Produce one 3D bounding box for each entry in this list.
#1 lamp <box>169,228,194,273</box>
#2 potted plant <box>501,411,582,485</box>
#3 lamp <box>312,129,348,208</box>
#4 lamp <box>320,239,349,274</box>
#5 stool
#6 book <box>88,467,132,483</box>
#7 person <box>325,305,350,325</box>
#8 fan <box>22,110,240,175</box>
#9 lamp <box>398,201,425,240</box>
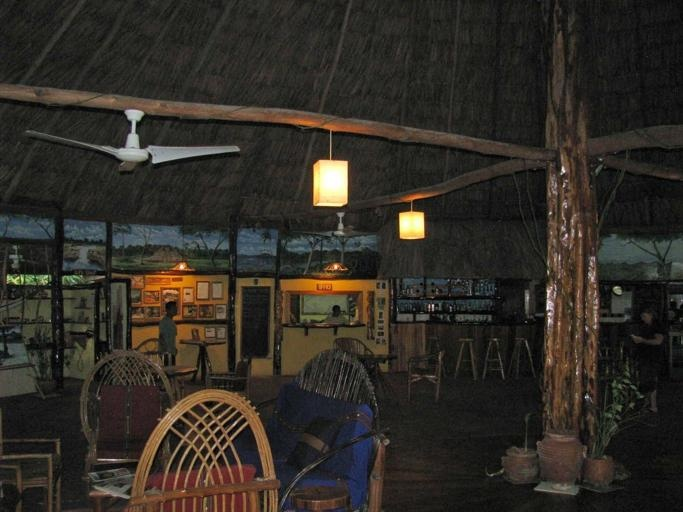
[{"bbox_3d":[-3.337,-0.143,13.655,0.455,0.939,0.237,0,1,-21],"label":"lamp"},{"bbox_3d":[2.284,2.318,7.611,1.048,0.485,0.624,0,-4,40],"label":"potted plant"},{"bbox_3d":[-0.130,-0.916,7.935,0.406,0.560,0.235,0,1,-13],"label":"lamp"},{"bbox_3d":[-0.125,-0.009,14.501,0.596,0.802,0.584,9,10,41],"label":"lamp"},{"bbox_3d":[3.372,2.181,14.050,1.799,0.828,0.653,1,1,6],"label":"stool"},{"bbox_3d":[-2.003,1.914,5.621,0.352,0.058,0.313,0,1,-24],"label":"book"},{"bbox_3d":[-0.112,1.313,14.303,0.418,0.769,0.314,4,12,7],"label":"person"},{"bbox_3d":[-2.493,-1.164,7.607,1.599,0.441,1.574,3,-4,-35],"label":"fan"},{"bbox_3d":[1.128,-0.622,10.366,0.425,0.573,0.374,-5,11,-12],"label":"lamp"}]
